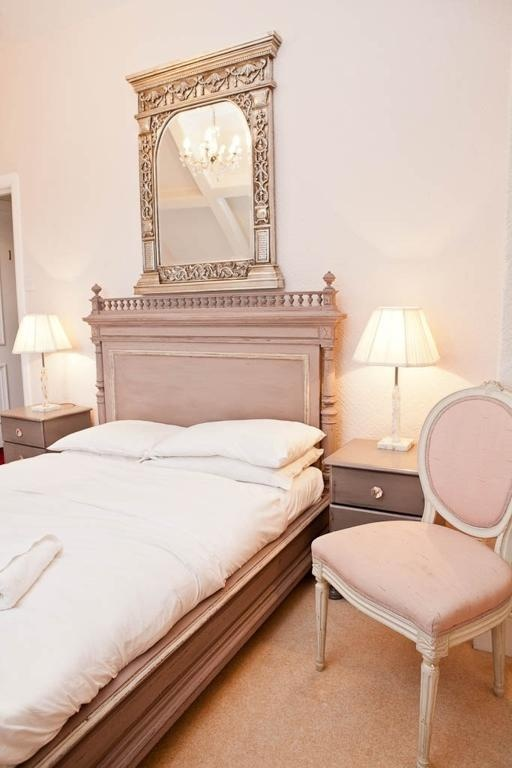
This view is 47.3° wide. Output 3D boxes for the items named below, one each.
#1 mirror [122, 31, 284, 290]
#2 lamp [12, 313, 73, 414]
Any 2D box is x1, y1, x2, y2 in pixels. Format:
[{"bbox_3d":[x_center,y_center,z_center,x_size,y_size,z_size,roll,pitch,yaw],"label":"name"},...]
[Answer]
[{"bbox_3d":[-0.254,-1.021,2.882,0.890,1.102,0.097,5,11,33],"label":"mirror"},{"bbox_3d":[-1.283,-0.133,3.563,0.317,0.591,0.501,-4,9,-17],"label":"lamp"}]
